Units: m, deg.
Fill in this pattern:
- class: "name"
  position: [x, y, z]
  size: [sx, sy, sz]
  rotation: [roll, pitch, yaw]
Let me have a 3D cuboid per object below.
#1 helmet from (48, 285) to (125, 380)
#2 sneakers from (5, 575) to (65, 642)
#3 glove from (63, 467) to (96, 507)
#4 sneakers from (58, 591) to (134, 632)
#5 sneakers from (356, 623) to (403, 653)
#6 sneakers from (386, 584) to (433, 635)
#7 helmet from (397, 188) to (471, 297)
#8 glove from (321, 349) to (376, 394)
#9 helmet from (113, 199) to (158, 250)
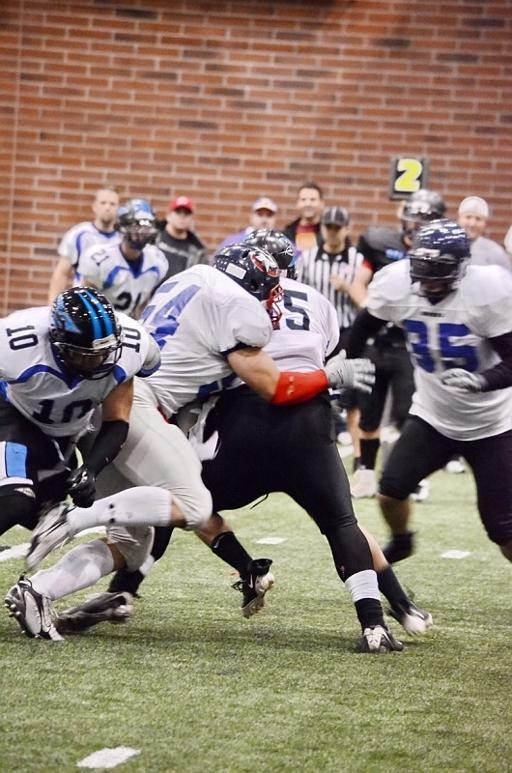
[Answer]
- class: "helmet"
  position: [-0.409, -0.139, 1.904]
  size: [0.171, 0.227, 0.142]
  rotation: [6, -5, -14]
- class: "sneakers"
  position: [-0.564, 0.565, 1.999]
  size: [0.104, 0.168, 0.186]
  rotation: [3, -5, 22]
- class: "glove"
  position: [-0.430, 0.241, 1.907]
  size: [0.040, 0.070, 0.094]
  rotation: [-9, 55, -49]
- class: "sneakers"
  position: [-0.441, 0.631, 2.253]
  size: [0.236, 0.098, 0.079]
  rotation: [-7, 20, -33]
- class: "sneakers"
  position: [0.327, 0.664, 2.082]
  size: [0.068, 0.042, 0.114]
  rotation: [-2, -9, 20]
- class: "sneakers"
  position: [0.473, 0.686, 2.377]
  size: [0.078, 0.085, 0.201]
  rotation: [-28, -5, -15]
- class: "helmet"
  position: [0.533, -0.409, 2.397]
  size: [0.197, 0.219, 0.236]
  rotation: [5, 33, 15]
- class: "glove"
  position: [0.268, -0.042, 2.318]
  size: [0.136, 0.038, 0.114]
  rotation: [18, 33, -26]
- class: "helmet"
  position: [-0.806, -1.042, 5.123]
  size: [0.286, 0.295, 0.340]
  rotation: [-1, 4, -21]
